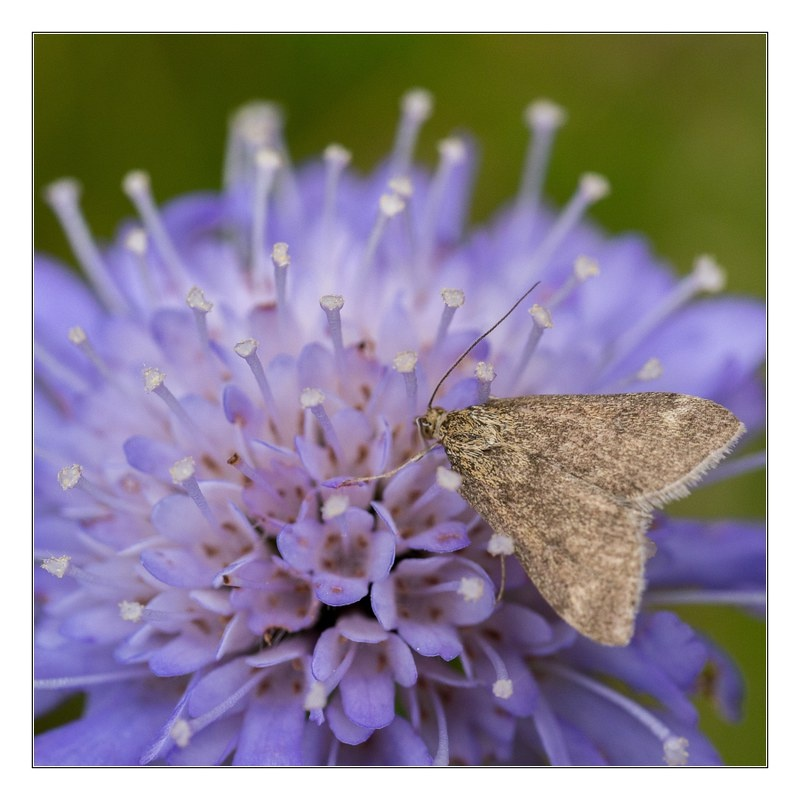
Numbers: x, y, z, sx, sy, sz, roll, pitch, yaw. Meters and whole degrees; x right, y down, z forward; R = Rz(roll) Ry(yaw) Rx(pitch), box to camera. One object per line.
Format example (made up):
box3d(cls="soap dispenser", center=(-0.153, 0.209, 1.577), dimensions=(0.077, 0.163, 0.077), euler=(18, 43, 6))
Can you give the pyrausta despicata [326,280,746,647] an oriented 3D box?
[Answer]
box3d(cls="pyrausta despicata", center=(0.203, 0.121, 1.467), dimensions=(0.545, 0.169, 0.610), euler=(11, 43, 20))
